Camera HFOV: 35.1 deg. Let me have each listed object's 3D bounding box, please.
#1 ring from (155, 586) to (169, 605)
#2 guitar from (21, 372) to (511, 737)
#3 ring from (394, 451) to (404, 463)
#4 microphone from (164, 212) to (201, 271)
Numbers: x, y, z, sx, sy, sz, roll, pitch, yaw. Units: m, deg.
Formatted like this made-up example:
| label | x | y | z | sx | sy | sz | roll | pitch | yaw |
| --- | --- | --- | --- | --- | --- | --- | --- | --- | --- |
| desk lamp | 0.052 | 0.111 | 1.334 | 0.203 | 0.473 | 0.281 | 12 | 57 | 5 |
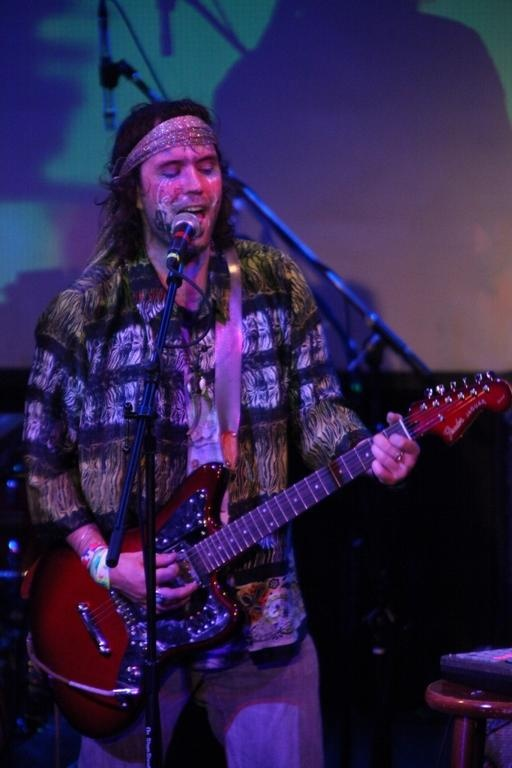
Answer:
| label | x | y | z | sx | sy | sz | roll | pitch | yaw |
| --- | --- | --- | --- | --- | --- | --- | --- | --- | --- |
| ring | -0.239 | 0.540 | 2.054 | 0.034 | 0.042 | 0.019 | -1 | 4 | 39 |
| guitar | 0.013 | 0.507 | 2.310 | 1.182 | 0.431 | 0.175 | -34 | -11 | 0 |
| ring | 0.357 | 0.180 | 2.003 | 0.006 | 0.025 | 0.017 | 22 | 32 | 38 |
| microphone | -0.171 | -0.336 | 1.915 | 0.054 | 0.056 | 0.202 | 10 | 31 | 1 |
